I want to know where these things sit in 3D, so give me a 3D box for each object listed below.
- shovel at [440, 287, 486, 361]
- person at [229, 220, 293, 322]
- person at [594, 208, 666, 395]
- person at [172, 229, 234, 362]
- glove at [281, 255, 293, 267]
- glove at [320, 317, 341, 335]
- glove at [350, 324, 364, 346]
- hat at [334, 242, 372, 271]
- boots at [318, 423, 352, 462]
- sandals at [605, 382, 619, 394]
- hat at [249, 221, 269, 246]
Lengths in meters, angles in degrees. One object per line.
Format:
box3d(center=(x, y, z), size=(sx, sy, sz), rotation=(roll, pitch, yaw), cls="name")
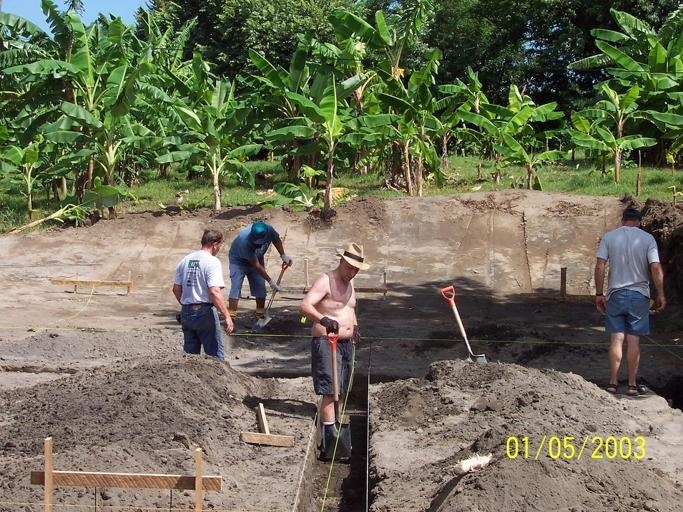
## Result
box3d(center=(1.845, 1.133, 12.819), size=(0.388, 1.248, 0.189), rotation=(-21, -5, 8), cls="shovel")
box3d(center=(-1.493, 0.293, 15.137), size=(1.128, 1.835, 0.876), rotation=(-6, 8, -6), cls="person")
box3d(center=(4.316, 0.630, 12.669), size=(0.949, 2.653, 1.300), rotation=(-3, 8, 15), cls="person")
box3d(center=(-1.996, 0.603, 12.209), size=(0.883, 1.928, 0.611), rotation=(-4, 8, 8), cls="person")
box3d(center=(-0.958, 0.089, 15.196), size=(0.217, 0.233, 0.093), rotation=(-4, -8, 8), cls="glove")
box3d(center=(-0.135, 0.912, 11.190), size=(0.202, 0.228, 0.082), rotation=(-19, -11, -5), cls="glove")
box3d(center=(0.232, 1.093, 11.791), size=(0.288, 0.312, 0.123), rotation=(-4, -3, -3), cls="glove")
box3d(center=(0.215, 0.014, 14.646), size=(0.619, 0.243, 0.521), rotation=(28, 5, 41), cls="hat")
box3d(center=(-0.023, 2.527, 11.685), size=(0.489, 0.442, 0.287), rotation=(5, 14, -3), cls="boots")
box3d(center=(3.962, 1.926, 12.375), size=(0.188, 0.092, 0.431), rotation=(-3, -2, 8), cls="sandals")
box3d(center=(-1.415, -0.377, 14.753), size=(0.306, 0.384, 0.216), rotation=(3, -15, -9), cls="hat")
